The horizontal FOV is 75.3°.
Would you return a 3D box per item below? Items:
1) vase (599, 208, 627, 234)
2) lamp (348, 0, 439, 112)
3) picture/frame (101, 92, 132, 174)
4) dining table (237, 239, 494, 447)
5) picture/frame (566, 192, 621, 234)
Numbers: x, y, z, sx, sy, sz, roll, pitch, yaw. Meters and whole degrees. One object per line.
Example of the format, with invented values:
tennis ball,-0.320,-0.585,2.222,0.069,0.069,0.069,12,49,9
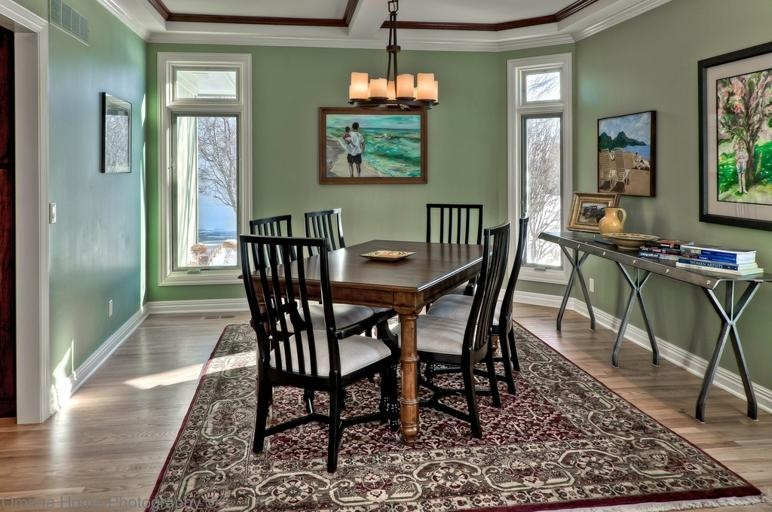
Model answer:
vase,2.126,-0.324,4.776,0.338,0.299,0.263,1,0,20
lamp,-0.002,-1.931,4.609,0.696,1.182,1.536,-2,13,-5
picture/frame,-2.623,-1.174,4.861,0.204,0.729,0.855,-5,14,-17
dining table,-0.070,0.397,3.700,1.322,0.925,1.926,1,4,18
picture/frame,2.134,-0.436,5.075,0.054,0.411,0.513,18,-9,-35
